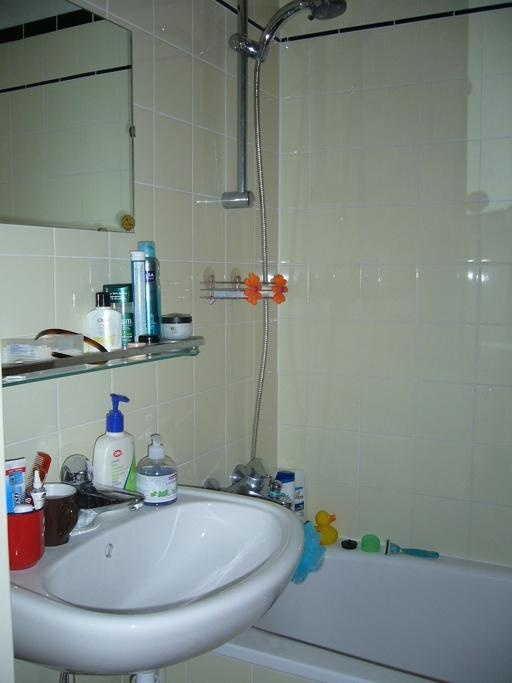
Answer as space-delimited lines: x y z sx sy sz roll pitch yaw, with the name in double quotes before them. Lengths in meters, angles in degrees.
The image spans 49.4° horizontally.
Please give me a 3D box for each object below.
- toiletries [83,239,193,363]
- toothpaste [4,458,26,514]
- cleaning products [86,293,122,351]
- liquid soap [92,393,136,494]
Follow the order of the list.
"toiletries" -0.323 -0.083 1.111 0.099 0.363 0.239 -2 0 32
"toothpaste" -0.329 0.199 0.763 0.023 0.075 0.038 -3 4 -26
"cleaning products" -0.277 -0.030 1.022 0.048 0.110 0.061 12 13 32
"liquid soap" -0.278 0.199 1.084 0.056 0.233 0.070 1 1 32
